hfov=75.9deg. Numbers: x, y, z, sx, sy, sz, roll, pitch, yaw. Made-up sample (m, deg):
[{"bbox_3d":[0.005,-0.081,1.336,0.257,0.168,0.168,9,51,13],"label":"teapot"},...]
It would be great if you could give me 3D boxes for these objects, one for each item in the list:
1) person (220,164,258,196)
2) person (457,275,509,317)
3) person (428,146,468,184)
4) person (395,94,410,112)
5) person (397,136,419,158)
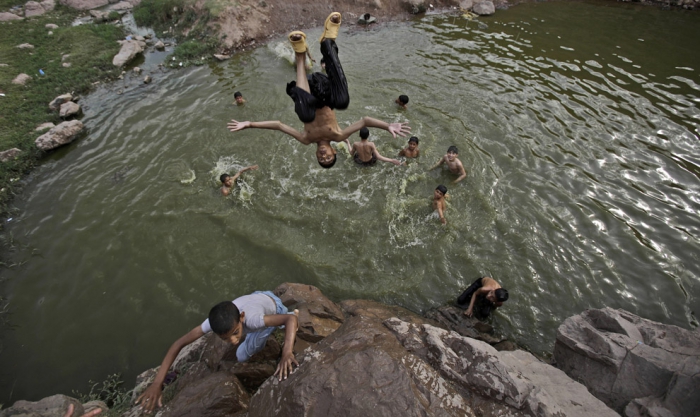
[{"bbox_3d":[-4.938,-1.317,19.158,0.634,0.574,1.681,32,57,19],"label":"person"},{"bbox_3d":[4.724,3.250,16.228,1.410,1.017,1.200,-25,58,-21],"label":"person"},{"bbox_3d":[4.193,-1.850,18.537,1.345,1.229,0.593,36,59,22],"label":"person"},{"bbox_3d":[2.412,-4.920,20.964,0.451,0.741,0.520,-35,72,-13],"label":"person"},{"bbox_3d":[2.525,-2.642,19.516,1.068,1.455,0.704,4,74,1],"label":"person"}]
